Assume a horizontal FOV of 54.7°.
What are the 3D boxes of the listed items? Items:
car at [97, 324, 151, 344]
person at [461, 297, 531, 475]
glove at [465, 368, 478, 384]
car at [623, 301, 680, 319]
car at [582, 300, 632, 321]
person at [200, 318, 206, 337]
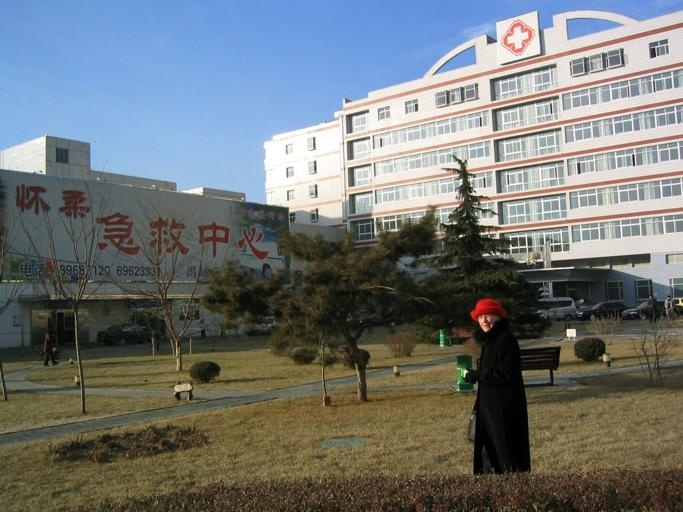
[{"bbox_3d":[-14.536,5.254,44.492,2.864,0.930,1.367,-4,4,-39],"label":"car"},{"bbox_3d":[2.299,1.908,9.706,0.778,2.509,0.334,-3,-4,9],"label":"person"},{"bbox_3d":[1.987,1.802,9.925,0.157,0.225,0.227,-3,-1,42],"label":"glove"},{"bbox_3d":[20.219,3.506,42.818,2.662,0.911,1.250,1,-8,5],"label":"car"},{"bbox_3d":[18.068,3.698,44.687,3.045,1.010,1.293,2,-7,-18],"label":"car"},{"bbox_3d":[-10.683,5.557,51.237,0.528,1.427,1.950,-2,-5,-12],"label":"person"}]
